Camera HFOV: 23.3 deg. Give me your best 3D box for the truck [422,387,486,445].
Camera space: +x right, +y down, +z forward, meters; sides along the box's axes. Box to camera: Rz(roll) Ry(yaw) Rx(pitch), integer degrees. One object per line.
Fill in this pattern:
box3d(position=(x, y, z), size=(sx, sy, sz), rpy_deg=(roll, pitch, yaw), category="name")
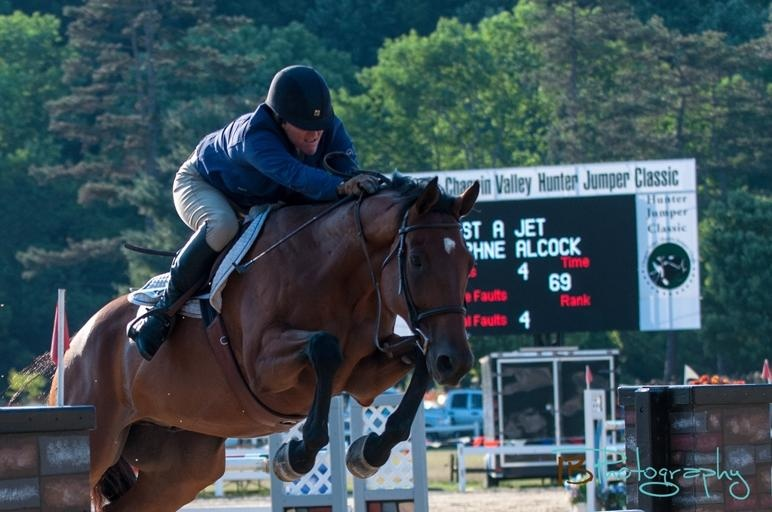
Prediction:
box3d(position=(2.841, 6.671, 76.489), size=(1.735, 2.279, 2.183), rpy_deg=(-7, 1, -43), category="truck")
